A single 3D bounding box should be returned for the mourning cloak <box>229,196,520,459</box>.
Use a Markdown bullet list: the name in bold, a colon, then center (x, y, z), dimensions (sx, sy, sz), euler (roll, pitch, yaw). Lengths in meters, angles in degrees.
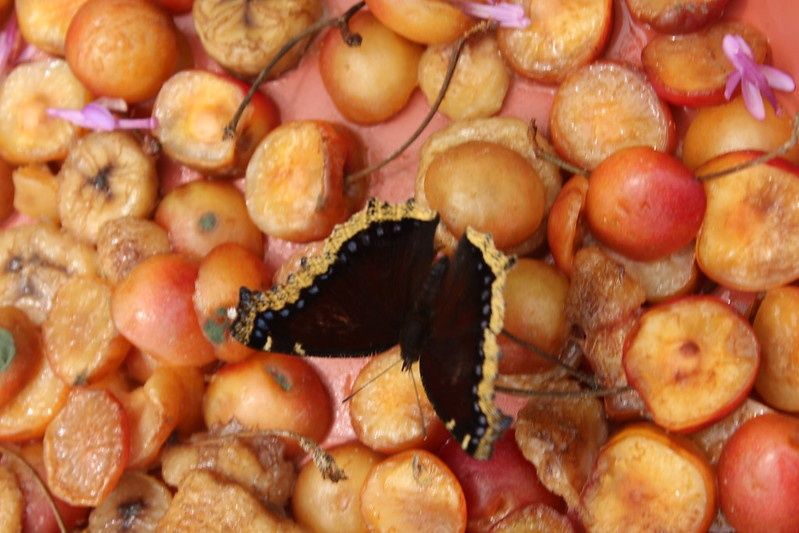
- **mourning cloak**: center (0.001, 0.072, 1.103), dimensions (0.369, 0.194, 0.315), euler (20, 60, 17)
